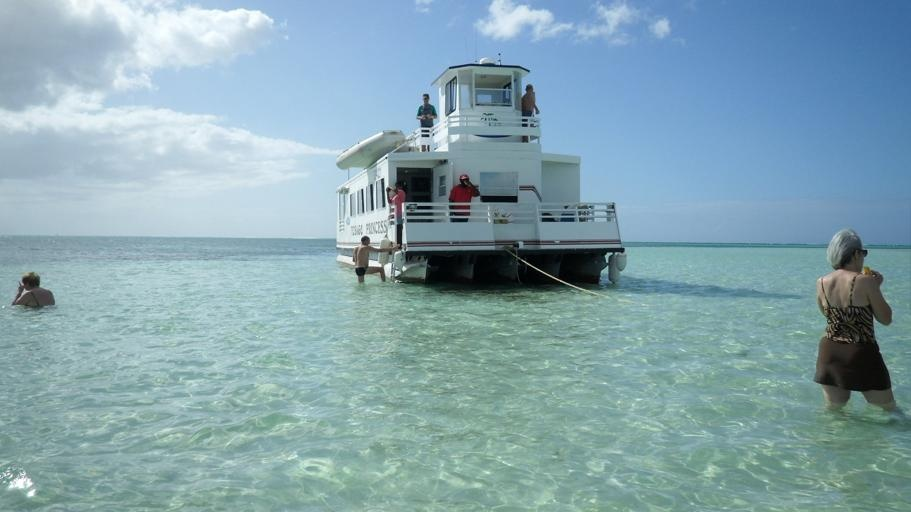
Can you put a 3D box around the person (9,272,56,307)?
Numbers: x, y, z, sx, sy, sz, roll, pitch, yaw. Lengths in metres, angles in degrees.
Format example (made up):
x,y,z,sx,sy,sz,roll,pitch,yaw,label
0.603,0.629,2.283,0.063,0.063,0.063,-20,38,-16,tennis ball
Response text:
x,y,z,sx,sy,sz,roll,pitch,yaw,label
-14.177,1.212,19.632,1.155,1.258,1.474,-6,7,-45,person

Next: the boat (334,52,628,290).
x,y,z,sx,sy,sz,roll,pitch,yaw,label
0.491,-3.680,26.001,8.673,9.357,11.111,-7,17,-25,boat
